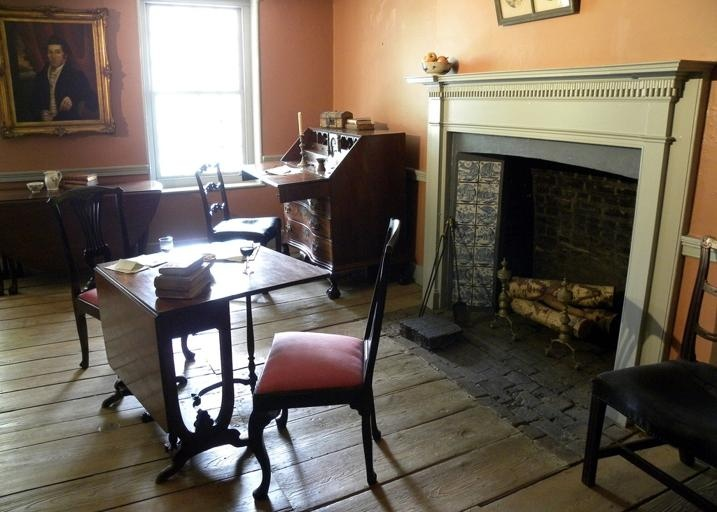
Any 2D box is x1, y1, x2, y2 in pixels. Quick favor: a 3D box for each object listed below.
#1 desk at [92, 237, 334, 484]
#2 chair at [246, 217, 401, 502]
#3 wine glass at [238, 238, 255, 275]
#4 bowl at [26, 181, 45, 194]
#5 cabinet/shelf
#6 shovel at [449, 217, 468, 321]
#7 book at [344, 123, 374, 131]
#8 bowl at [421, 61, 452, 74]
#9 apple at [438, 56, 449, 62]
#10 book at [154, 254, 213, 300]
[{"bbox_3d":[-0.997,0.565,3.431,1.089,0.934,1.316,-10,15,-36],"label":"desk"},{"bbox_3d":[-0.199,0.543,2.943,0.889,1.208,0.780,-5,14,-14],"label":"chair"},{"bbox_3d":[-0.670,0.009,3.158,0.113,0.181,0.124,17,34,13],"label":"wine glass"},{"bbox_3d":[-2.985,-0.636,4.880,0.153,0.092,0.151,5,28,-3],"label":"bowl"},{"bbox_3d":[-0.340,-0.518,5.444,1.315,1.446,1.505,-9,19,-24],"label":"cabinet/shelf"},{"bbox_3d":[0.826,0.117,4.345,0.157,0.814,0.387,1,19,8],"label":"shovel"},{"bbox_3d":[-0.018,-1.249,5.067,0.296,0.079,0.152,8,21,24],"label":"book"},{"bbox_3d":[0.625,-1.501,4.180,0.221,0.090,0.086,-1,19,3],"label":"bowl"},{"bbox_3d":[0.663,-1.563,4.166,0.072,0.049,0.101,1,19,7],"label":"apple"},{"bbox_3d":[-0.939,0.108,2.817,0.220,0.138,0.289,1,14,2],"label":"book"}]
